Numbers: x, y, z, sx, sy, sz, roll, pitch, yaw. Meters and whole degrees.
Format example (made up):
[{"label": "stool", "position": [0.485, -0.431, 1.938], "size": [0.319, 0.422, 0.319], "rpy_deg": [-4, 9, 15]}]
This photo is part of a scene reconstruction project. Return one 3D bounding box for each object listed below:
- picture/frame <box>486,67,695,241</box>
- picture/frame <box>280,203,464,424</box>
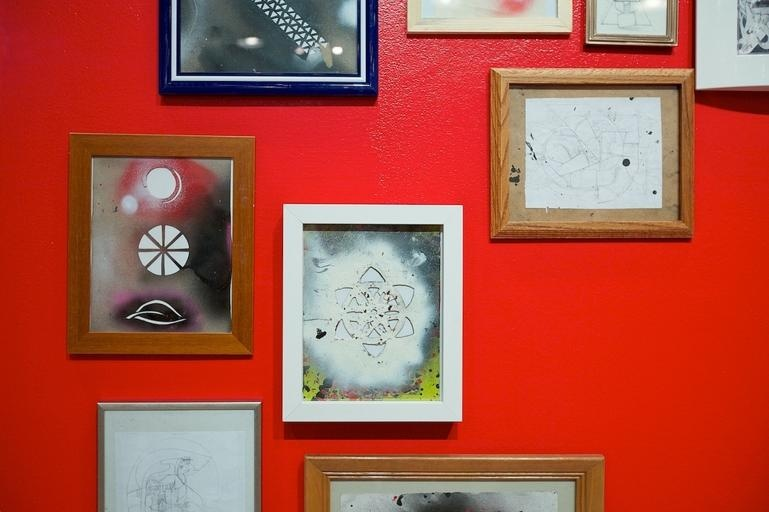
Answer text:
[{"label": "picture/frame", "position": [0.550, -0.284, 2.868], "size": [0.438, 0.392, 0.033], "rpy_deg": [0, -2, -1]}, {"label": "picture/frame", "position": [-0.041, 0.158, 2.850], "size": [0.555, 0.719, 0.047], "rpy_deg": [0, -1, -2]}]
